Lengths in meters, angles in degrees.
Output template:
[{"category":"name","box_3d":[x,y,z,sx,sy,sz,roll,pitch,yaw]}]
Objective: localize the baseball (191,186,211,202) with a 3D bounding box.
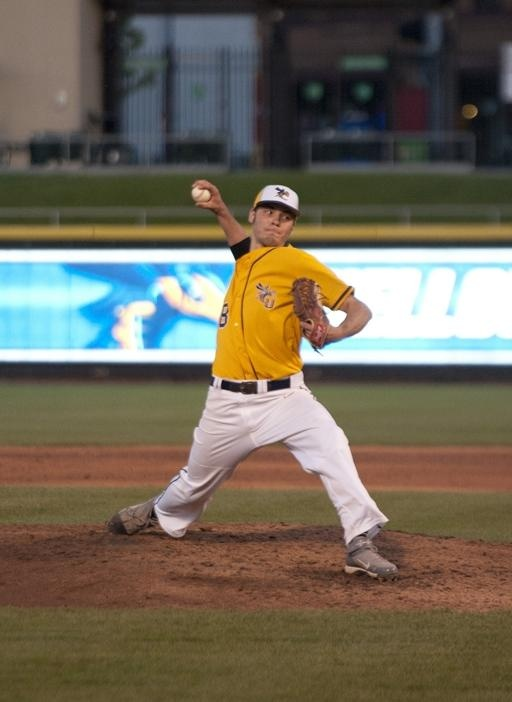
[{"category":"baseball","box_3d":[-0.355,-0.967,9.834,0.097,0.094,0.075,-42,12,33]}]

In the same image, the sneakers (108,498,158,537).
[{"category":"sneakers","box_3d":[-0.771,1.064,9.887,0.278,0.116,0.202,-20,40,8]}]

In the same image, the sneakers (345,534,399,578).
[{"category":"sneakers","box_3d":[0.653,1.223,9.283,0.145,0.259,0.379,-1,6,-37]}]
